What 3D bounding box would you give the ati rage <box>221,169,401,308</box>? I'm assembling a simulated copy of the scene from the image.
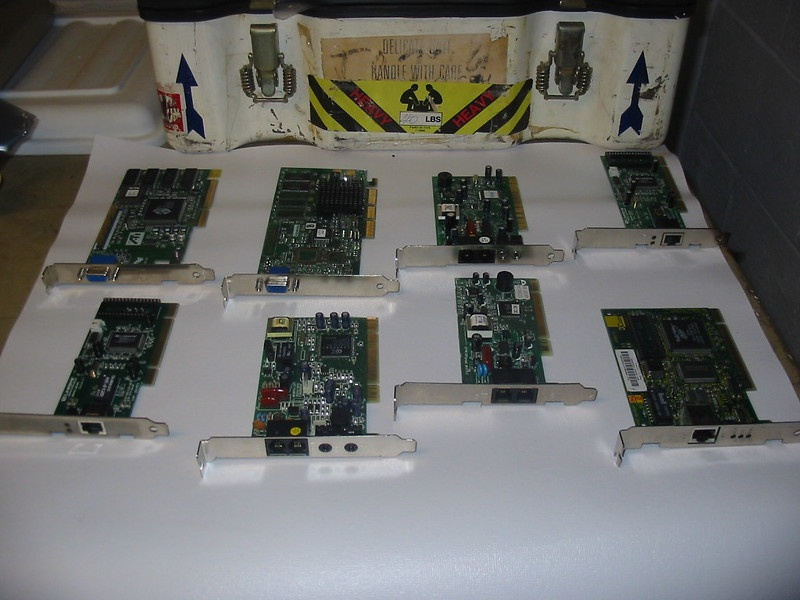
[{"bbox_3d":[-1.054,-0.797,7.650,1.569,0.416,1.805,1,50,0],"label":"ati rage"}]
